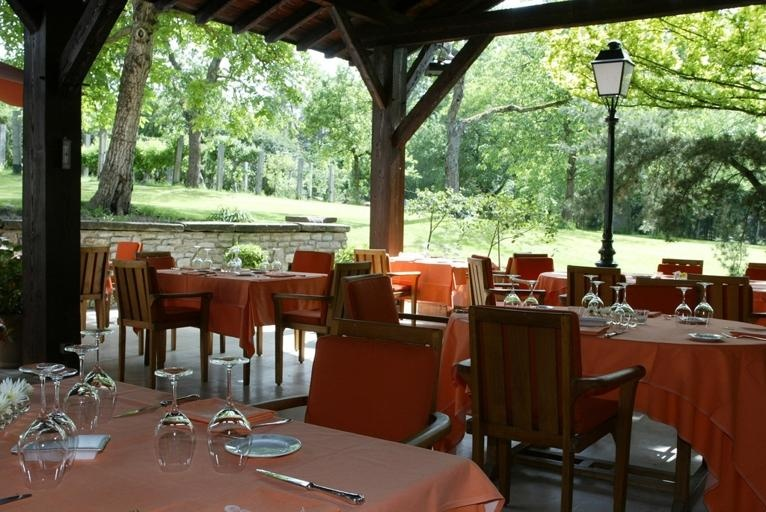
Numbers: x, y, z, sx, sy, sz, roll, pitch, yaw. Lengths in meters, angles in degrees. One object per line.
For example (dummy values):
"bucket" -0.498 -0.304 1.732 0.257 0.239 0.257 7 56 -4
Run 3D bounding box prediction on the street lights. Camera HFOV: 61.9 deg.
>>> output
"street lights" 2.449 -1.153 6.842 0.399 2.051 0.706 1 0 21

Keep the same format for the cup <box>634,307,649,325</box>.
"cup" 1.720 0.401 4.230 0.106 0.084 0.109 0 -2 0
